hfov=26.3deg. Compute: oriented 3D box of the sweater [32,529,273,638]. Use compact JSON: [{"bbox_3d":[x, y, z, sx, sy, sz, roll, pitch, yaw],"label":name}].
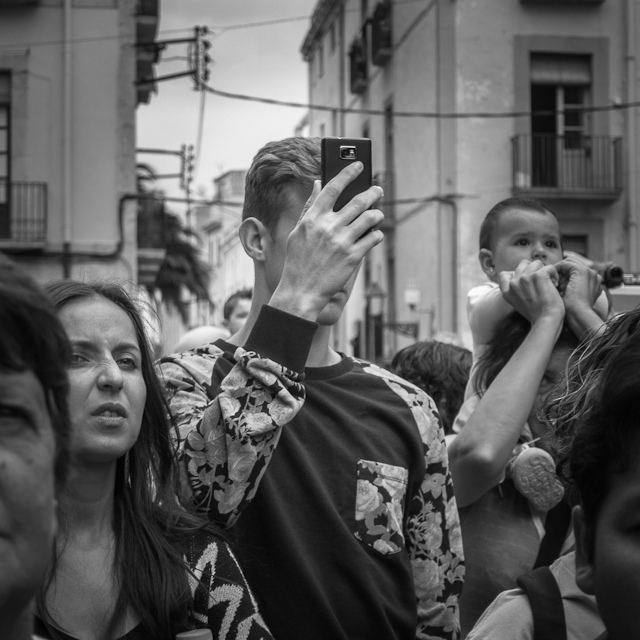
[{"bbox_3d":[-0.421,0.630,3.265,0.351,0.291,0.696,-4,9,-25],"label":"sweater"}]
